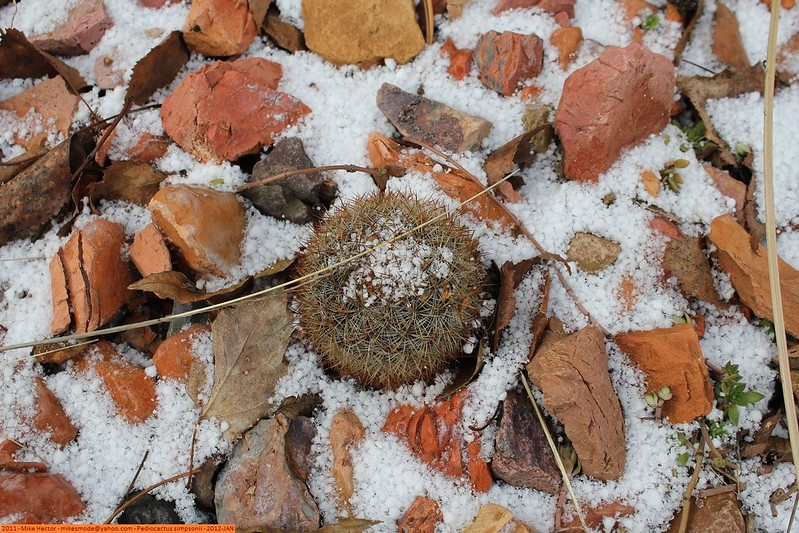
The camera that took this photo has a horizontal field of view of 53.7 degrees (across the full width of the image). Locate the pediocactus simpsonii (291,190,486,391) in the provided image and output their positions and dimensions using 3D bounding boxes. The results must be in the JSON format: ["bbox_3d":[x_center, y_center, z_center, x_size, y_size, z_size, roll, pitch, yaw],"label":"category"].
[{"bbox_3d":[-0.054,0.169,5.233,1.243,0.576,1.282,0,83,-2],"label":"pediocactus simpsonii"}]
